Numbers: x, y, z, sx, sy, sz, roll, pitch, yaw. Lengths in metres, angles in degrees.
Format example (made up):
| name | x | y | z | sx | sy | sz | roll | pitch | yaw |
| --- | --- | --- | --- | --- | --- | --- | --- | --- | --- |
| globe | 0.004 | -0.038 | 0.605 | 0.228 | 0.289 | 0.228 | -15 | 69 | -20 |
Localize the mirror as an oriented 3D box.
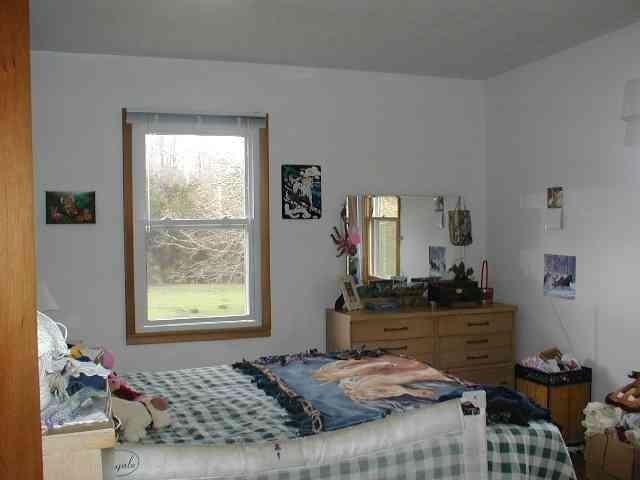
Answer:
| name | x | y | z | sx | sy | sz | roll | pitch | yaw |
| --- | --- | --- | --- | --- | --- | --- | --- | --- | --- |
| mirror | 0.473 | 0.021 | 4.614 | 0.530 | 0.913 | 0.077 | -7 | 35 | -4 |
